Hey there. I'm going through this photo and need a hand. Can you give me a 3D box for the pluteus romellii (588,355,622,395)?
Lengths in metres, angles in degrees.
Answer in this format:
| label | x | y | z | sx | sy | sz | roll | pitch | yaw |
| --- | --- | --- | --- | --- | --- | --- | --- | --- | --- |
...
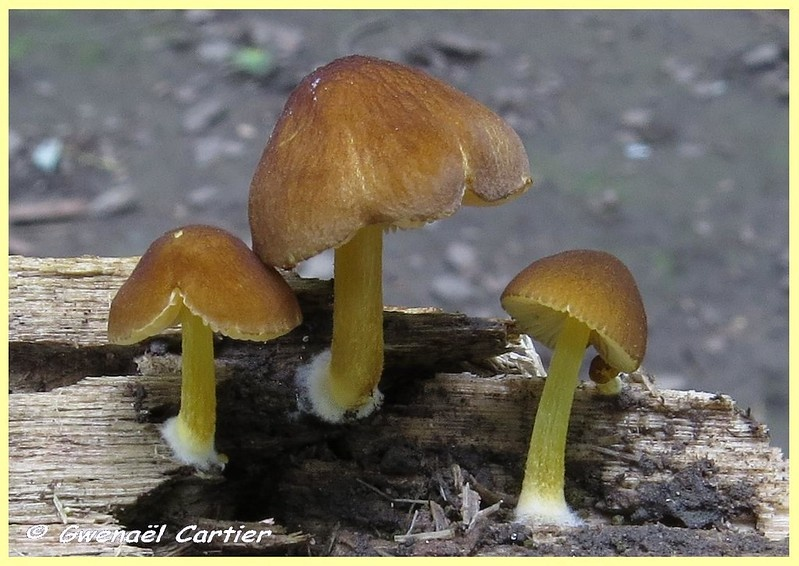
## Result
| label | x | y | z | sx | sy | sz | roll | pitch | yaw |
| --- | --- | --- | --- | --- | --- | --- | --- | --- | --- |
| pluteus romellii | 1.233 | 0.581 | 6.495 | 0.212 | 0.238 | 0.077 | -21 | 23 | 24 |
